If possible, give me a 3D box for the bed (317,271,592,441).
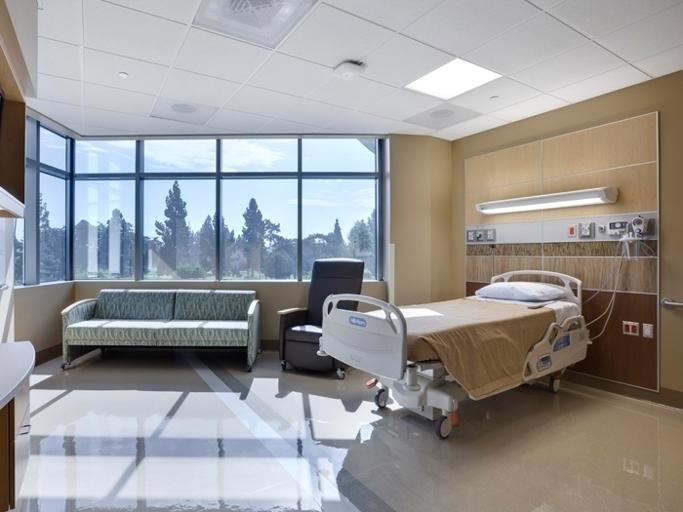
[{"bbox_3d":[1.225,0.550,4.588,2.486,1.273,1.398,-5,5,-36],"label":"bed"}]

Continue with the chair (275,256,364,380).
[{"bbox_3d":[-0.243,0.763,5.665,0.957,1.459,1.107,3,-3,5],"label":"chair"}]

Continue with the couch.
[{"bbox_3d":[-2.197,0.941,5.776,2.224,0.832,0.961,1,10,-1],"label":"couch"}]
